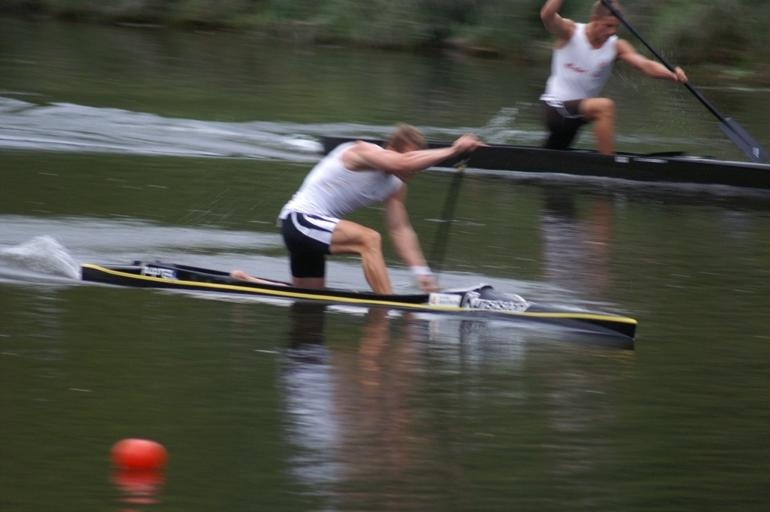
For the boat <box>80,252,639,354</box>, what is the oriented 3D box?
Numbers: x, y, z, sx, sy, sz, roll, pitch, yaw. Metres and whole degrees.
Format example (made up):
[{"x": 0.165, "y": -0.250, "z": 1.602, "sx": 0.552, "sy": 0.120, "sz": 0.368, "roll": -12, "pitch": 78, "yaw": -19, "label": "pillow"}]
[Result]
[{"x": -0.340, "y": 0.453, "z": 13.938, "sx": 4.737, "sy": 0.507, "sz": 0.286, "roll": 6, "pitch": 89, "yaw": 5, "label": "boat"}]
